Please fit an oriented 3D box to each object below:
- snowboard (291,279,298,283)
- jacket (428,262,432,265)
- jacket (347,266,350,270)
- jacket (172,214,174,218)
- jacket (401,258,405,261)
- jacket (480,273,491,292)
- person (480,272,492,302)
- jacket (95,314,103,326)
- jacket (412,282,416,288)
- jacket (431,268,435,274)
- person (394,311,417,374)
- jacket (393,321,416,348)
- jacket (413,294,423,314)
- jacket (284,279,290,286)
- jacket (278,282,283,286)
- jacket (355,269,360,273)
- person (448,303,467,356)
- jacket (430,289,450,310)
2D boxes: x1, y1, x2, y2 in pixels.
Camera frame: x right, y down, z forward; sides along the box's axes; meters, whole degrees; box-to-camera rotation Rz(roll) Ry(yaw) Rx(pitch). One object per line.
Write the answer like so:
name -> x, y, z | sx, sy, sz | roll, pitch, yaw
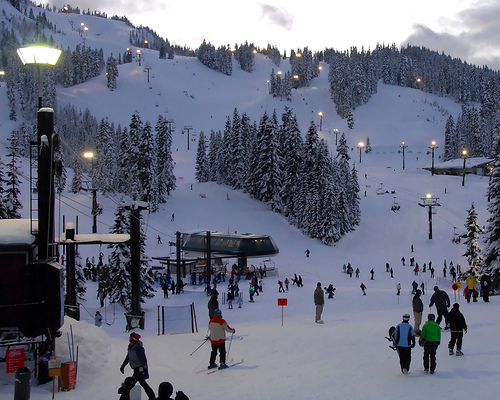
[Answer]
snowboard -> 3.865, 6.971, 65.825 | 0.527, 0.154, 0.550 | 9, -5, -38
jacket -> 17.967, 6.349, 75.908 | 0.388, 0.112, 0.412 | -4, 13, -24
jacket -> 9.671, 6.678, 74.751 | 0.110, 0.518, 0.489 | 5, -4, -20
jacket -> -9.730, 1.992, 95.256 | 0.254, 0.587, 0.335 | 0, 2, 6
jacket -> 15.954, 6.195, 79.326 | 0.383, 0.432, 0.105 | 2, -3, 42
jacket -> 16.049, 5.585, 51.466 | 0.201, 1.124, 1.049 | 6, -3, -10
person -> 16.061, 5.974, 51.694 | 0.647, 1.696, 2.212 | 1, -1, 18
jacket -> -9.452, 7.441, 47.079 | 0.363, 0.631, 0.753 | 2, -1, -13
jacket -> 12.485, 6.460, 57.735 | 0.074, 0.418, 0.380 | 3, -1, -9
jacket -> 17.568, 6.842, 72.987 | 0.249, 0.391, 0.493 | -3, 2, 0
person -> 7.820, 7.309, 38.594 | 1.029, 1.977, 0.909 | 1, -1, 12
jacket -> 7.791, 6.718, 38.433 | 1.059, 1.362, 0.700 | 3, 26, 11
jacket -> 9.725, 6.003, 44.163 | 0.474, 1.129, 0.615 | 2, -1, -16
jacket -> 3.046, 6.913, 63.664 | 0.663, 0.362, 0.998 | 0, 1, -2
jacket -> 2.460, 6.878, 62.567 | 0.567, 0.146, 0.635 | -1, 3, -15
jacket -> 10.416, 6.916, 73.870 | 0.501, 0.596, 0.129 | 1, 3, -15
person -> 10.953, 6.850, 40.237 | 0.916, 2.744, 0.991 | 1, -1, 16
jacket -> 10.652, 5.595, 42.766 | 0.987, 1.148, 0.931 | 1, -1, 15
